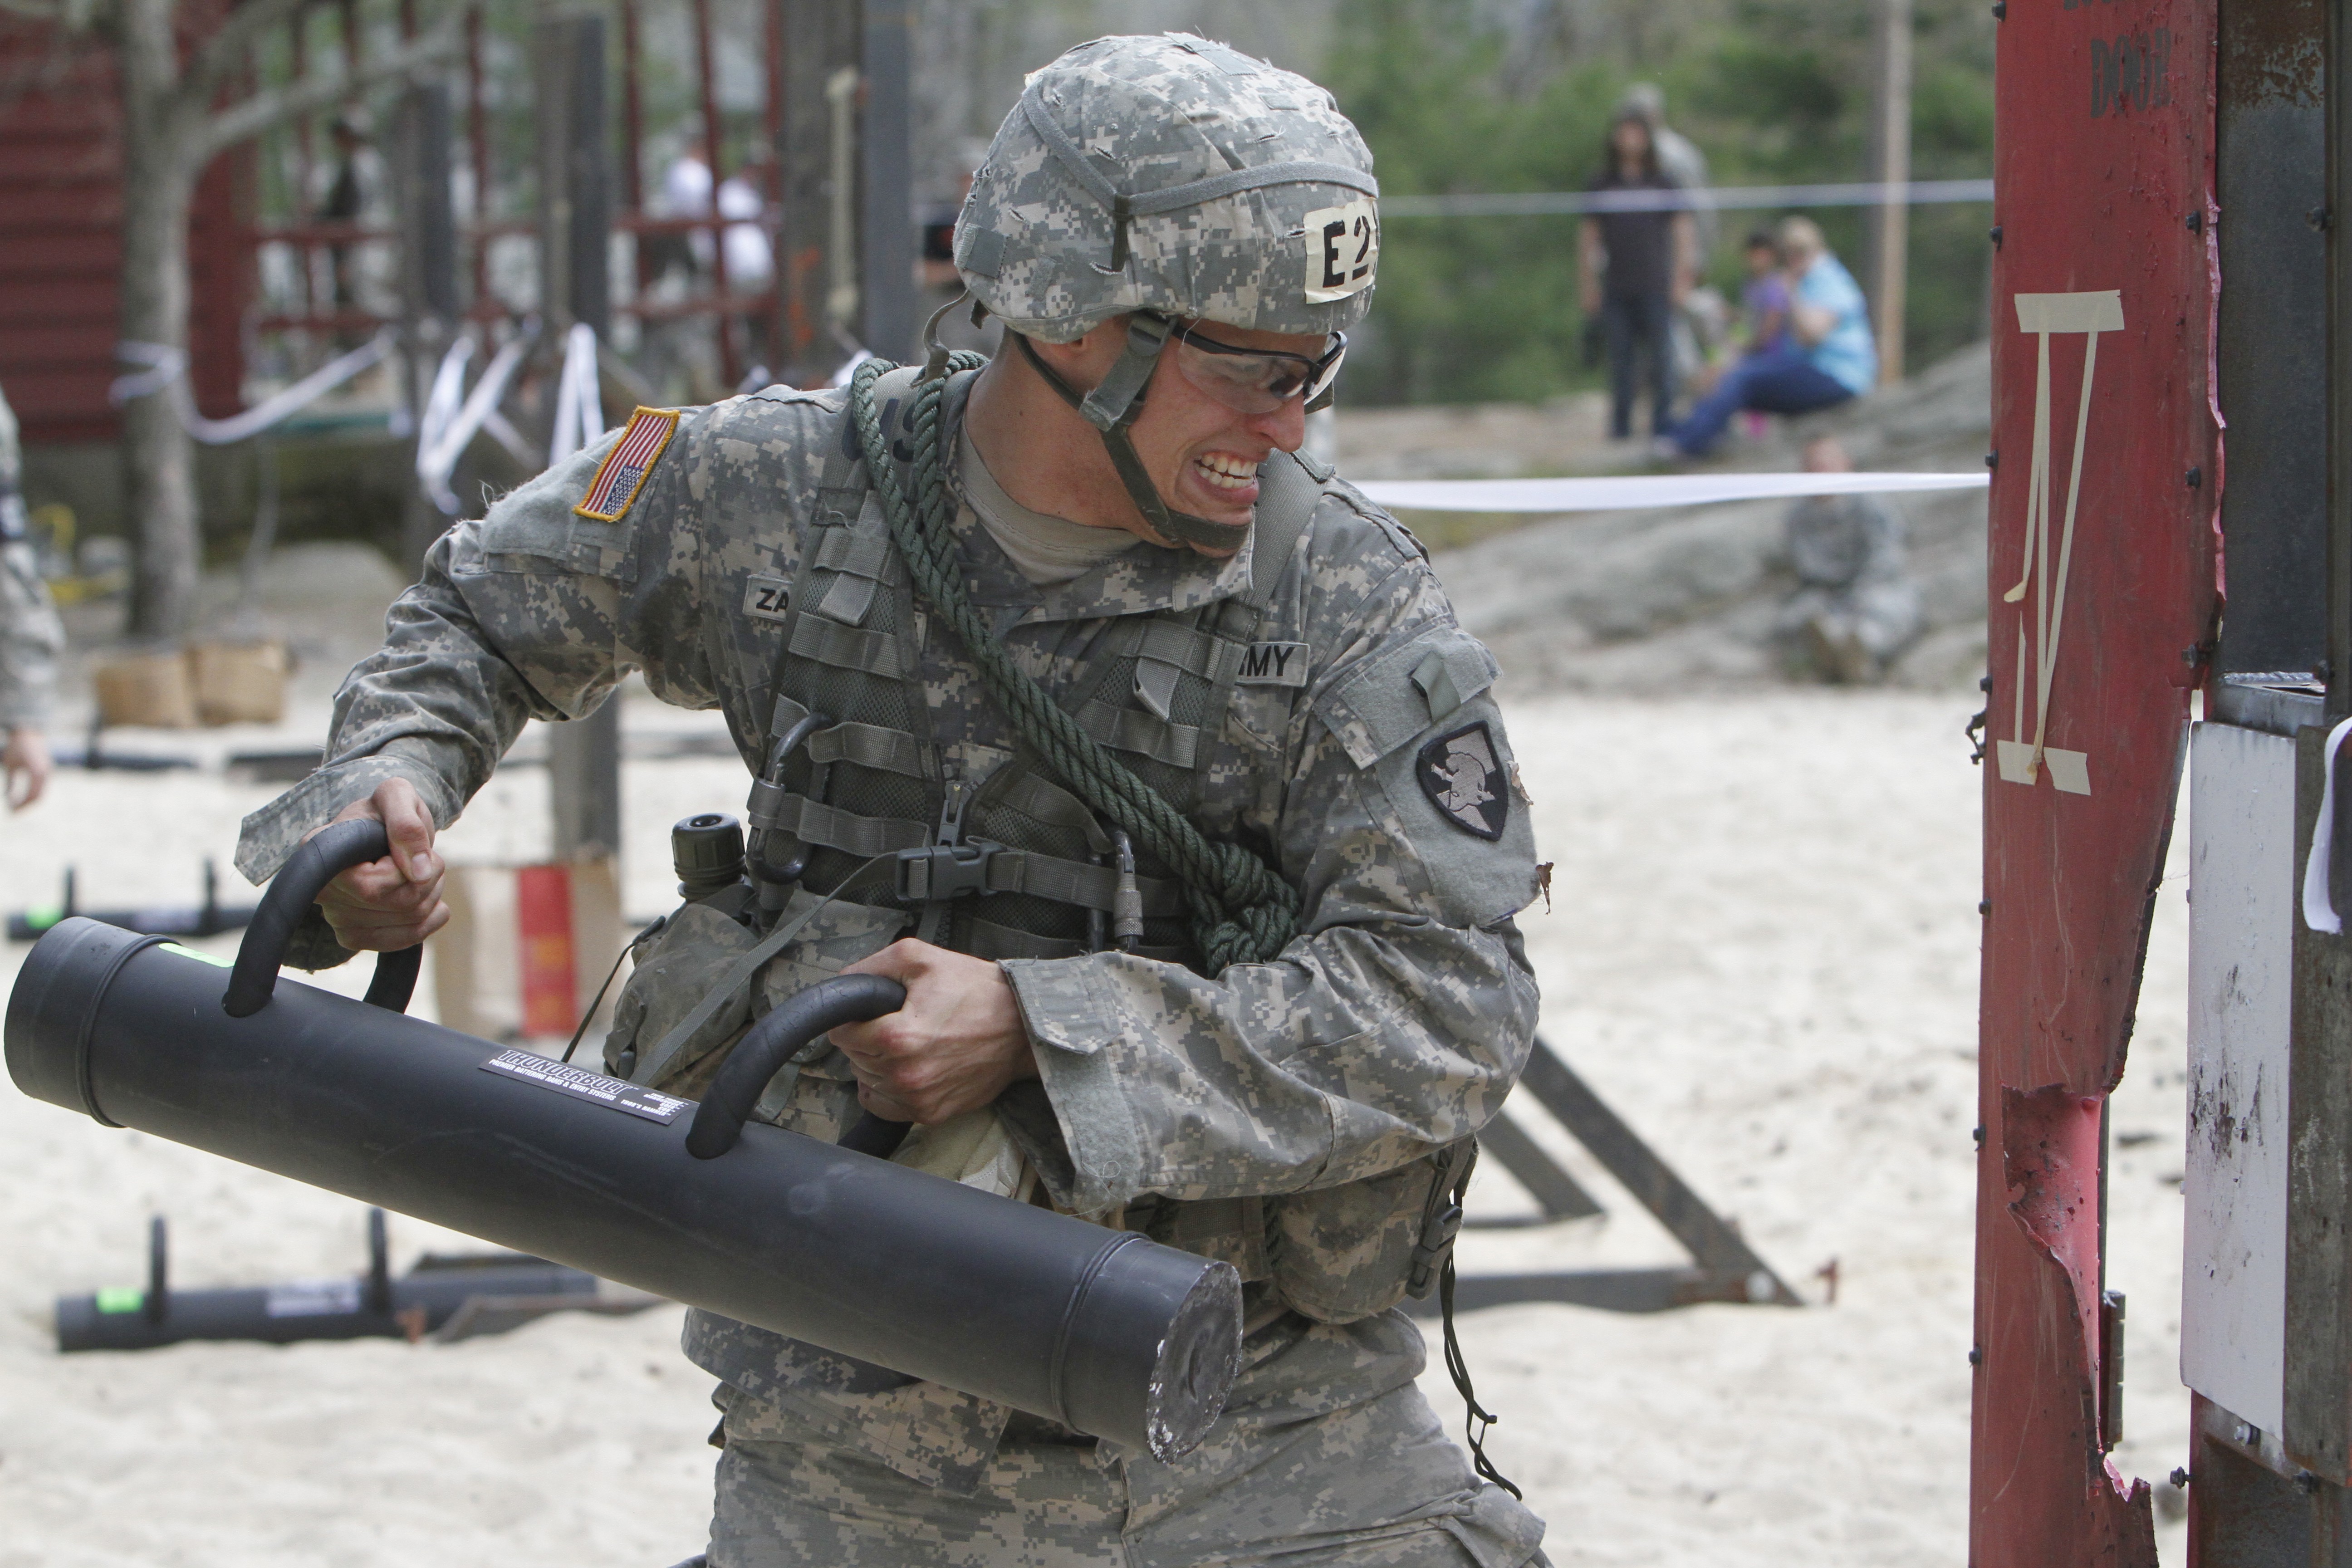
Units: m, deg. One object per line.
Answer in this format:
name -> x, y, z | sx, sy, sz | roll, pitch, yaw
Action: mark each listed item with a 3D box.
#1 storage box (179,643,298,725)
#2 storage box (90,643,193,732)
storage box -> -3.726, -0.407, 22.355 | 0.497, 0.284, 0.359 | -2, 3, -25
storage box -> -4.064, -0.397, 22.152 | 0.317, 0.235, 0.324 | 3, 8, 22
